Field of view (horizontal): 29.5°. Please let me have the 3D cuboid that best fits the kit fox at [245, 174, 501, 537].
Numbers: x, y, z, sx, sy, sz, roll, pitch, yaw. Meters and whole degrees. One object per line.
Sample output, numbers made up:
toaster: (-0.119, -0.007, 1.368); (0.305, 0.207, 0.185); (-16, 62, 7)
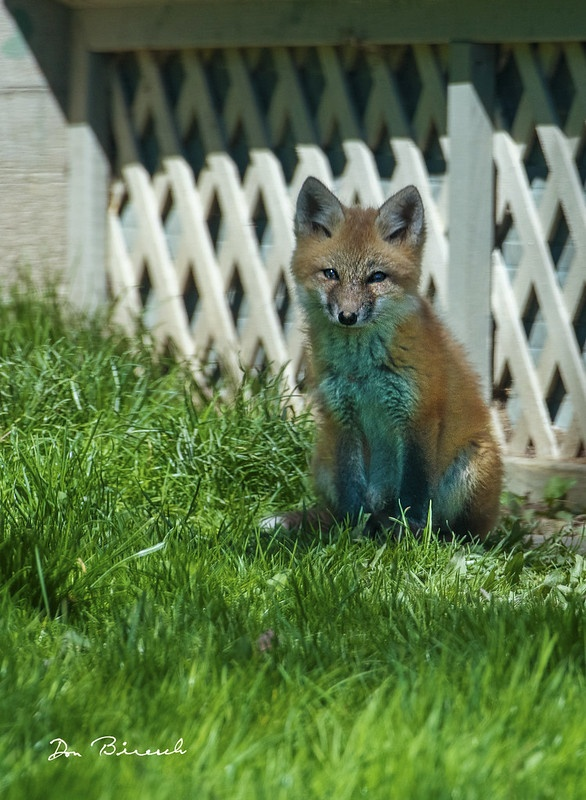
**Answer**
kit fox: (0.346, -0.120, 3.815); (0.721, 1.223, 0.418); (-2, 5, -32)
